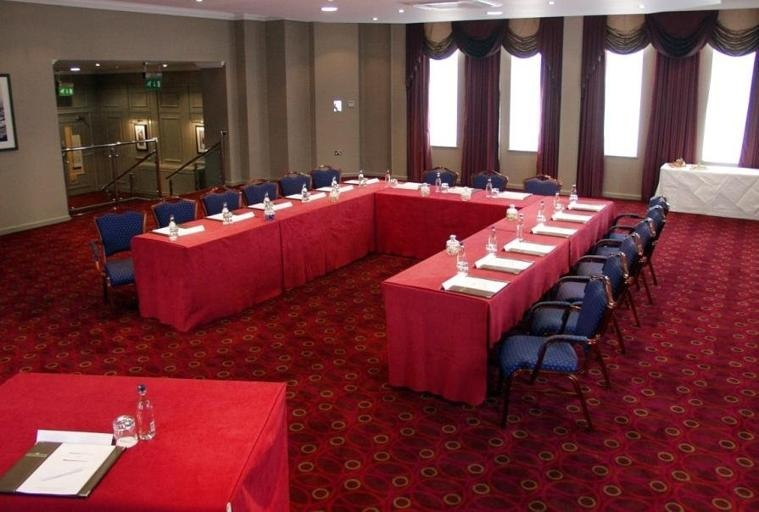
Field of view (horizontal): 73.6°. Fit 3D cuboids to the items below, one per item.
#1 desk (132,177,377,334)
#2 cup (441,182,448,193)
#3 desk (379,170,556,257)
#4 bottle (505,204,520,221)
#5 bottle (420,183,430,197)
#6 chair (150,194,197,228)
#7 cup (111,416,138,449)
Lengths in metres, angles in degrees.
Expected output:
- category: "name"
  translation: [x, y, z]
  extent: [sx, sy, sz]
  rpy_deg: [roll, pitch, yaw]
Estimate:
- category: "desk"
  translation: [-1.105, 0.040, 7.356]
  extent: [3.801, 0.970, 1.054]
  rpy_deg: [-18, -15, 28]
- category: "cup"
  translation: [1.104, -1.150, 8.602]
  extent: [0.170, 0.198, 0.175]
  rpy_deg: [0, 4, 0]
- category: "desk"
  translation: [1.017, -0.501, 8.394]
  extent: [2.184, 0.922, 0.747]
  rpy_deg: [5, 10, 17]
- category: "bottle"
  translation: [1.842, -0.612, 7.041]
  extent: [0.224, 0.229, 0.230]
  rpy_deg: [2, 10, 26]
- category: "bottle"
  translation: [0.721, -1.070, 8.197]
  extent: [0.194, 0.284, 0.199]
  rpy_deg: [-1, 3, 0]
- category: "chair"
  translation: [-2.917, -0.680, 7.317]
  extent: [0.492, 0.739, 0.439]
  rpy_deg: [13, 18, 43]
- category: "cup"
  translation: [-1.472, 1.035, 3.025]
  extent: [0.156, 0.184, 0.159]
  rpy_deg: [2, 12, 0]
